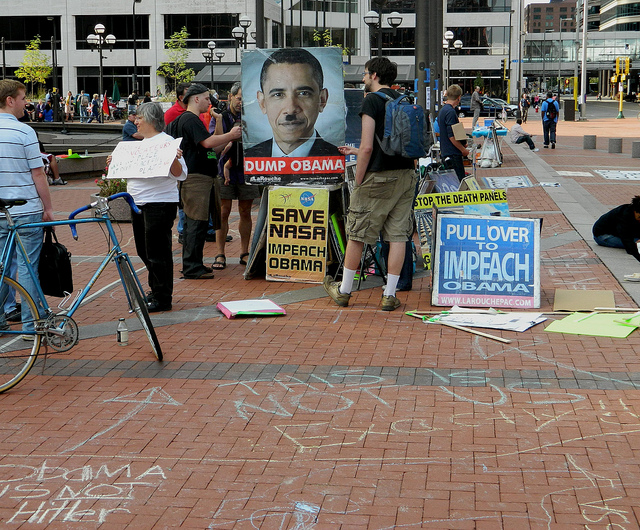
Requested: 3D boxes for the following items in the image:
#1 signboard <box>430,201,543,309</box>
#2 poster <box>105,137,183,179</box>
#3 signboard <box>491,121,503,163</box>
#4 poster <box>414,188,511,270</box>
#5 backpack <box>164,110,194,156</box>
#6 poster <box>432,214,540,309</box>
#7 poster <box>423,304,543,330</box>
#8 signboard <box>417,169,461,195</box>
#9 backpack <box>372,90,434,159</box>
[{"bbox_3d":[1.583,-0.118,7.057,1.522,1.110,0.796,2,-2,-30],"label":"signboard"},{"bbox_3d":[-1.724,-1.010,6.134,0.861,0.385,0.490,7,16,33],"label":"poster"},{"bbox_3d":[5.672,-3.985,20.486,0.340,1.268,1.421,2,14,14],"label":"signboard"},{"bbox_3d":[1.593,-0.397,7.024,1.214,0.670,0.337,-10,-2,-3],"label":"poster"},{"bbox_3d":[-1.619,-1.647,7.596,0.297,0.412,0.352,0,4,29],"label":"backpack"},{"bbox_3d":[1.763,-0.001,6.696,1.187,0.820,0.368,2,-8,3],"label":"poster"},{"bbox_3d":[1.614,0.512,6.225,0.957,0.037,0.653,3,13,20],"label":"poster"},{"bbox_3d":[1.532,-1.070,8.239,0.220,0.323,0.534,-16,1,44],"label":"signboard"},{"bbox_3d":[0.860,-1.439,6.472,0.530,0.555,0.644,-16,24,-27],"label":"backpack"}]
